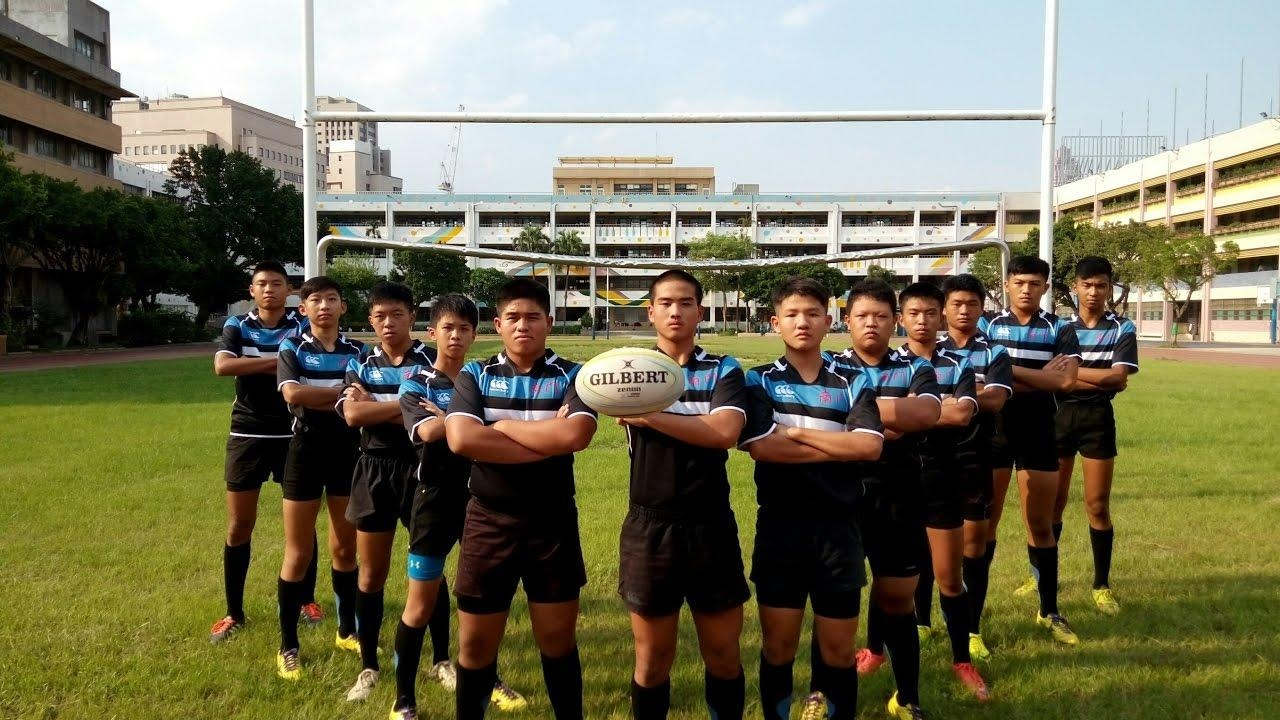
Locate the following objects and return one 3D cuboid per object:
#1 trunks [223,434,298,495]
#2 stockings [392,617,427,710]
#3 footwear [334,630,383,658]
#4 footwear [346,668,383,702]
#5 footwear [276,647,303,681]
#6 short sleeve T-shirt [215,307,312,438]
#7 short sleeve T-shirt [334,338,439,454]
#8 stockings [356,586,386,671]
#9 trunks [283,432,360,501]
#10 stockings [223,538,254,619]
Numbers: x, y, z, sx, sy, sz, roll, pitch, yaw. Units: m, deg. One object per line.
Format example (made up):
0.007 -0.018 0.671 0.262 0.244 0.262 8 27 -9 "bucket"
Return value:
-5.677 1.476 14.437 1.378 0.924 0.762 2 -4 -19 "trunks"
-3.146 4.239 13.168 0.526 1.218 0.399 -16 -25 34 "stockings"
-4.103 4.123 13.975 0.814 0.321 0.284 2 -5 15 "footwear"
-3.860 4.542 13.418 0.282 0.202 0.498 18 19 6 "footwear"
-4.999 4.325 13.673 0.425 0.365 0.274 1 4 -6 "footwear"
-5.548 0.192 14.610 1.483 1.870 0.943 0 11 -10 "short sleeve T-shirt"
-3.523 0.558 13.482 1.723 1.799 0.963 -2 -5 1 "short sleeve T-shirt"
-3.829 3.792 13.525 0.321 1.151 0.198 0 5 -16 "stockings"
-4.669 1.571 14.245 1.431 1.167 0.914 3 -12 -15 "trunks"
-6.003 3.283 14.280 0.312 1.186 0.299 -1 5 -23 "stockings"
